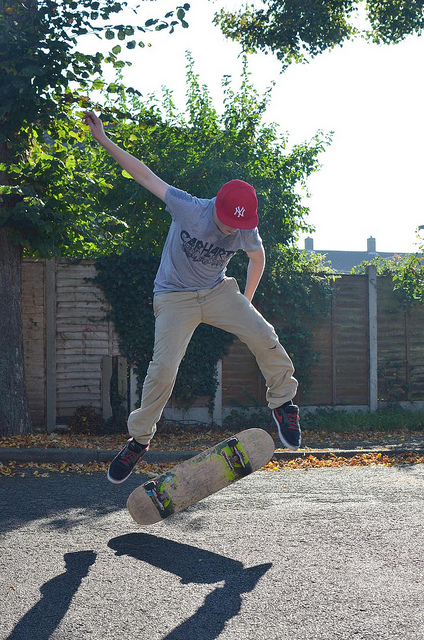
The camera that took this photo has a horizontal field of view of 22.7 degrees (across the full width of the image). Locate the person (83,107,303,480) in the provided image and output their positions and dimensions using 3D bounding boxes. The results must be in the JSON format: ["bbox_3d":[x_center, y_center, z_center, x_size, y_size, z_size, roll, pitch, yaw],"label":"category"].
[{"bbox_3d":[-0.092,-0.107,7.835,1.477,2.782,0.674,-1,10,-3],"label":"person"}]
